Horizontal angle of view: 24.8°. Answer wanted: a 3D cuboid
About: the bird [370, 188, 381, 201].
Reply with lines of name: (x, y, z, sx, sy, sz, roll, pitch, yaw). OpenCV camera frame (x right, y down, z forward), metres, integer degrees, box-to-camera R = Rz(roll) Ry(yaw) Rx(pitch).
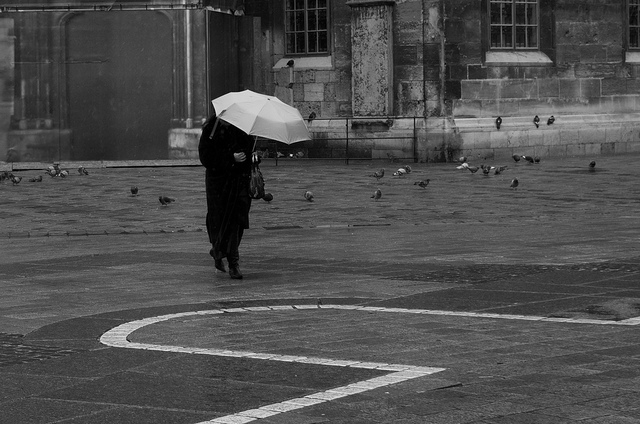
bird: (1.067, -0.305, 27.544, 0.194, 0.193, 0.396, 0, 6, 3)

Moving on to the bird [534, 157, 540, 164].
bird: (5.249, -1.207, 34.807, 0.174, 0.157, 0.295, 0, 9, -2)

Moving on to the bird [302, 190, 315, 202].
bird: (-0.183, -0.297, 27.427, 0.254, 0.158, 0.169, 12, -32, -5)

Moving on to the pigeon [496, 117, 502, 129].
pigeon: (4.565, -2.206, 36.707, 0.156, 0.226, 0.070, -8, 26, -33)

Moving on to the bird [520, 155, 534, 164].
bird: (5.035, -1.192, 34.733, 0.225, 0.120, 0.362, 14, 3, 43)

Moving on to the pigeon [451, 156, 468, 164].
pigeon: (3.417, -1.226, 35.268, 0.372, 0.151, 0.205, 1, -15, -17)

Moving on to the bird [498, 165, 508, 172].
bird: (4.068, -0.920, 31.844, 0.164, 0.060, 0.148, 7, -5, -18)

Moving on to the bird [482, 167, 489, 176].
bird: (3.690, -0.872, 32.034, 0.189, 0.121, 0.286, 1, -12, 2)

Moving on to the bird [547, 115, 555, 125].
bird: (6.016, -2.329, 37.545, 0.161, 0.206, 0.306, 1, 6, 9)

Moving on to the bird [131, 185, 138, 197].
bird: (-3.610, -0.393, 28.204, 0.149, 0.189, 0.084, -1, 3, -11)

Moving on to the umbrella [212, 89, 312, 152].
umbrella: (-0.760, -1.279, 19.916, 0.978, 0.540, 0.940, 29, 26, 22)

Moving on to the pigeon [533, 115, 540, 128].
pigeon: (5.602, -2.296, 37.265, 0.117, 0.292, 0.132, 2, -43, 5)

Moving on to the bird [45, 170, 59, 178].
bird: (-5.984, -0.825, 32.207, 0.338, 0.166, 0.190, 5, 8, 40)

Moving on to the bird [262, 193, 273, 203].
bird: (-0.991, -0.248, 27.078, 0.172, 0.160, 0.204, -4, -30, 32)

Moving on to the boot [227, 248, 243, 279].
boot: (-1.177, 0.736, 20.123, 0.212, 0.374, 0.296, -1, 7, -8)

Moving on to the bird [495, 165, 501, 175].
bird: (3.973, -0.887, 31.931, 0.066, 0.143, 0.121, 36, -19, -32)

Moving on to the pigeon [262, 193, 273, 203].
pigeon: (-0.977, -0.262, 27.056, 0.153, 0.134, 0.166, 1, -29, -6)

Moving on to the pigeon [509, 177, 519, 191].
pigeon: (3.917, -0.541, 28.839, 0.137, 0.181, 0.258, 18, -37, -27)

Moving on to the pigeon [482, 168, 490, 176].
pigeon: (3.698, -0.855, 32.048, 0.153, 0.142, 0.078, 2, 15, 1)

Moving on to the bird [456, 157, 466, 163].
bird: (3.421, -1.220, 34.764, 0.184, 0.079, 0.217, 4, -1, 15)

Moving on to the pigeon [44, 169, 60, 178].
pigeon: (-6.008, -0.829, 32.238, 0.198, 0.087, 0.357, -10, 12, -38)

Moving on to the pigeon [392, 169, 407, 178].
pigeon: (1.765, -0.843, 31.948, 0.304, 0.159, 0.471, 0, 6, 3)

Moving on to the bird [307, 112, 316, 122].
bird: (-0.186, -2.476, 37.919, 0.093, 0.070, 0.224, -39, -7, -30)

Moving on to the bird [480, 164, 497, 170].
bird: (3.870, -1.000, 33.142, 0.292, 0.066, 0.254, 0, -3, 9)

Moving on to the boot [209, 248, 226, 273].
boot: (-1.434, 0.720, 20.350, 0.160, 0.156, 0.413, -1, 16, -12)

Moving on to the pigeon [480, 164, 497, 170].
pigeon: (3.756, -0.973, 32.334, 0.225, 0.073, 0.224, 5, 3, 43)

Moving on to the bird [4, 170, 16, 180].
bird: (-6.660, -0.757, 30.906, 0.361, 0.163, 0.173, 1, 7, 35)

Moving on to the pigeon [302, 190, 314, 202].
pigeon: (-0.246, -0.274, 27.410, 0.240, 0.143, 0.164, 6, -1, 9)

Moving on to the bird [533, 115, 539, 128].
bird: (5.605, -2.285, 37.266, 0.105, 0.250, 0.116, 2, -25, -2)

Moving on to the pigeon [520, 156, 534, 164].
pigeon: (4.996, -1.231, 34.718, 0.098, 0.178, 0.341, -16, -25, 38)

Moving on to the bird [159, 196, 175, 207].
bird: (-2.845, -0.186, 26.702, 0.221, 0.081, 0.139, -6, 9, 19)

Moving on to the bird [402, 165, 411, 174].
bird: (1.982, -0.901, 32.222, 0.144, 0.153, 0.067, -2, 14, -11)

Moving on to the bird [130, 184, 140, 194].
bird: (-3.622, -0.414, 28.259, 0.190, 0.146, 0.205, 9, 14, 36)

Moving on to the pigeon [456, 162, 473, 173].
pigeon: (3.288, -1.001, 33.080, 0.178, 0.184, 0.486, 22, 3, -24)

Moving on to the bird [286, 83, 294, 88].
bird: (-0.800, -3.334, 38.732, 0.152, 0.121, 0.369, -1, 6, -9)

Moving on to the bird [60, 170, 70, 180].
bird: (-5.707, -0.797, 32.209, 0.185, 0.143, 0.053, 10, -3, 9)

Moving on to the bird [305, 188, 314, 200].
bird: (-0.213, -0.301, 27.371, 0.185, 0.116, 0.125, 1, -5, -9)

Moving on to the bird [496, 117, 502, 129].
bird: (4.549, -2.209, 36.740, 0.167, 0.223, 0.107, -2, 22, -20)
